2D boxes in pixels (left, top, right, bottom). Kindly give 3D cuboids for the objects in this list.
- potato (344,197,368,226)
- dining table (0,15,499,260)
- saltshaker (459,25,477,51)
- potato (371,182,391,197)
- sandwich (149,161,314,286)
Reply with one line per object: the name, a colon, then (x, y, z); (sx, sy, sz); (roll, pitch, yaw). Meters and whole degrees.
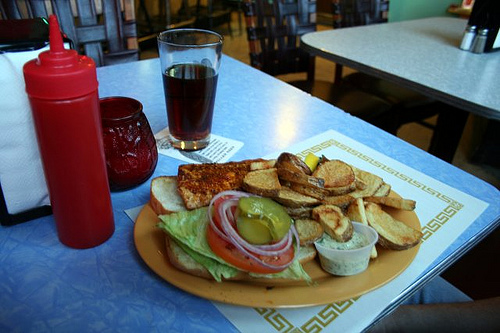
potato: (0.216, 0.095, 0.750); (0.049, 0.016, 0.049); (-26, 82, -31)
dining table: (-0.094, -0.087, 0.953); (0.808, 0.306, 1.049); (8, 30, -17)
saltshaker: (1.212, -0.714, 1.950); (0.064, 0.126, 0.086); (15, 35, 26)
potato: (0.307, 0.053, 0.819); (0.032, 0.009, 0.032); (17, 44, 22)
sandwich: (-0.051, 0.102, 0.732); (0.272, 0.135, 0.371); (-15, 32, -21)
